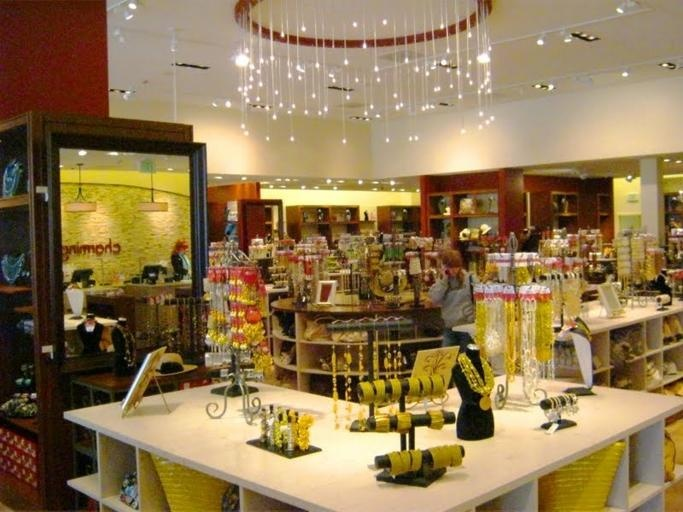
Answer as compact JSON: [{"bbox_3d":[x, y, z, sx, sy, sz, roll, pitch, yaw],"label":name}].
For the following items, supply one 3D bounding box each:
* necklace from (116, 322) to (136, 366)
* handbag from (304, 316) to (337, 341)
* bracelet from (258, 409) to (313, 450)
[{"bbox_3d":[-1.641,0.674,4.258,0.103,0.364,0.154,-11,-2,31],"label":"necklace"},{"bbox_3d":[-0.294,0.839,6.240,0.406,0.197,0.414,0,4,8],"label":"handbag"},{"bbox_3d":[-0.283,0.884,2.813,0.190,0.189,0.105,6,7,41],"label":"bracelet"}]
